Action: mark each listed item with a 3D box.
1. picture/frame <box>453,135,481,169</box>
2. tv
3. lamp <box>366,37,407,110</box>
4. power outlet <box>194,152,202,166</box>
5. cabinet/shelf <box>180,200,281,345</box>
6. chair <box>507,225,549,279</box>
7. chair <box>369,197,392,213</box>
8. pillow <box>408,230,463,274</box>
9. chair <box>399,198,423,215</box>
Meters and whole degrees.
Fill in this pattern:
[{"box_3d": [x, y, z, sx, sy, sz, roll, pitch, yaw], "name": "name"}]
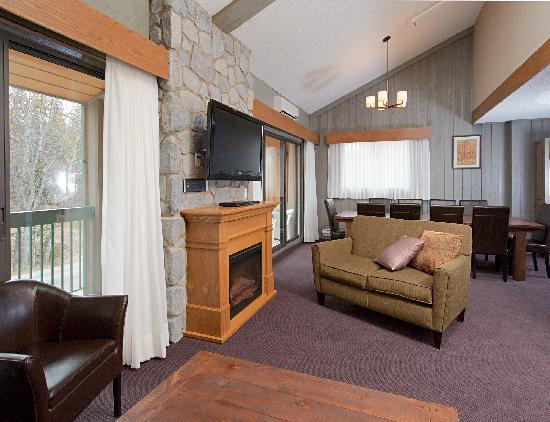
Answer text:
[{"box_3d": [3.702, -1.148, 7.109, 0.554, 0.868, 0.041, 3, 5, 30], "name": "picture/frame"}, {"box_3d": [-0.462, -0.749, 4.019, 0.103, 0.755, 1.040, 2, 0, 21], "name": "tv"}, {"box_3d": [1.884, -2.350, 6.268, 0.565, 1.301, 0.676, -1, -2, 29], "name": "lamp"}, {"box_3d": [-0.791, -0.531, 3.794, 0.073, 0.113, 0.028, 1, -8, 38], "name": "power outlet"}, {"box_3d": [-0.493, 0.634, 3.769, 0.367, 1.100, 1.197, 0, 5, 16], "name": "cabinet/shelf"}, {"box_3d": [3.478, 0.527, 5.190, 0.389, 0.795, 0.615, 9, 15, 35], "name": "chair"}, {"box_3d": [2.010, -0.040, 7.104, 0.465, 0.376, 0.265, 3, 7, 22], "name": "chair"}, {"box_3d": [1.661, 0.415, 3.847, 0.364, 0.369, 0.418, -11, 16, -41], "name": "pillow"}, {"box_3d": [2.084, -0.071, 5.728, 0.228, 0.216, 0.131, 3, 9, 20], "name": "chair"}]
